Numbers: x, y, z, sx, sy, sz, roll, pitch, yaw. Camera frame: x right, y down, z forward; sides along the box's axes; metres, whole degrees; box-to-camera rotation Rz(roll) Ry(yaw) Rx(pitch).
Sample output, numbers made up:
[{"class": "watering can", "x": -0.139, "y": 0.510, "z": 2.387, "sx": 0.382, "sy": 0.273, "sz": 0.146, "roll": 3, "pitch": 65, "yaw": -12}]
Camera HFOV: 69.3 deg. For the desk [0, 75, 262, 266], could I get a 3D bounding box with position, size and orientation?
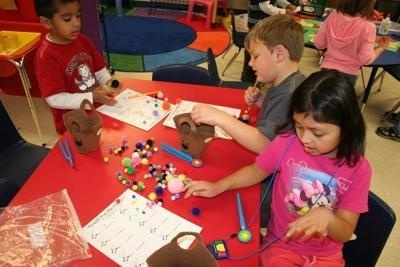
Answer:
[{"class": "desk", "x": -0.310, "y": 0.330, "z": 1.768, "sx": 0.849, "sy": 0.327, "sz": 1.343, "roll": 2, "pitch": 46, "yaw": 4}]
